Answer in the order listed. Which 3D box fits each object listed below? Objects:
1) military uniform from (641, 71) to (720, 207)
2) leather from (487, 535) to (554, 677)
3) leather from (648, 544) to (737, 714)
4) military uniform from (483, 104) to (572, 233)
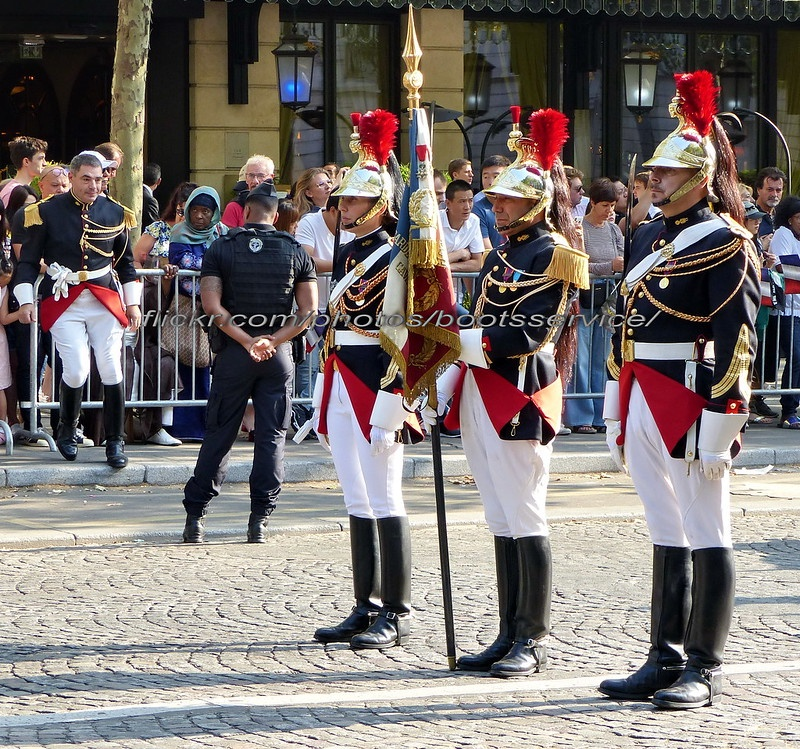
[{"bbox_3d":[1.269,-1.080,8.863,0.315,0.603,0.363,0,4,9],"label":"military uniform"},{"bbox_3d":[0.575,1.071,9.122,0.214,0.639,0.373,1,4,28],"label":"leather"},{"bbox_3d":[1.289,1.117,8.661,0.373,0.707,0.205,-1,4,-8],"label":"leather"},{"bbox_3d":[0.599,-0.962,9.257,0.359,0.566,0.288,0,4,4],"label":"military uniform"}]
